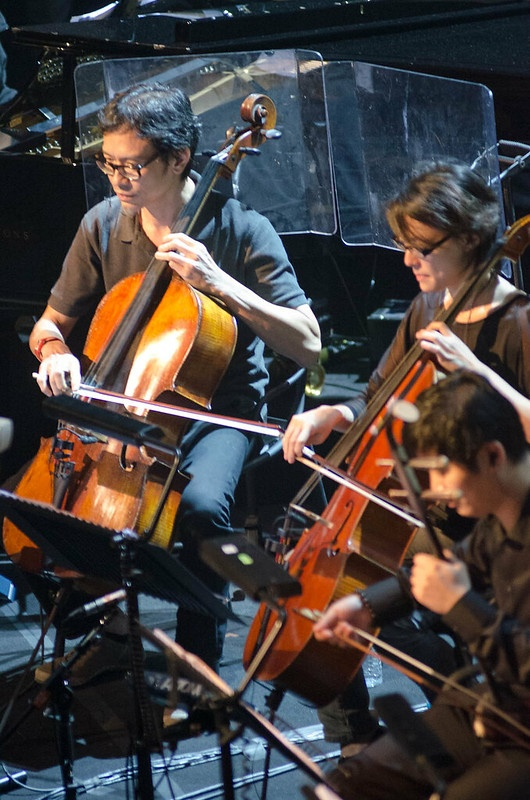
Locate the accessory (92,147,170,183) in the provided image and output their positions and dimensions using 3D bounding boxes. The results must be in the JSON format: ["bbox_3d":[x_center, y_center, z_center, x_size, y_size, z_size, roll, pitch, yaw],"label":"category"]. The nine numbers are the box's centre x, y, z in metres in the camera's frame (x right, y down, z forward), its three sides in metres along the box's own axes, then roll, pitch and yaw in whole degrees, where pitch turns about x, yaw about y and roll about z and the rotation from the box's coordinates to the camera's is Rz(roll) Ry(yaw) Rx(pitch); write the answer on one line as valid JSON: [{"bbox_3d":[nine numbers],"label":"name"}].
[{"bbox_3d":[-0.386,-0.623,2.042,0.119,0.037,0.119,23,40,28],"label":"accessory"}]

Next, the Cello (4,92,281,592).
[{"bbox_3d":[-0.141,-0.127,2.130,0.569,1.362,0.510,19,-12,39],"label":"Cello"}]
